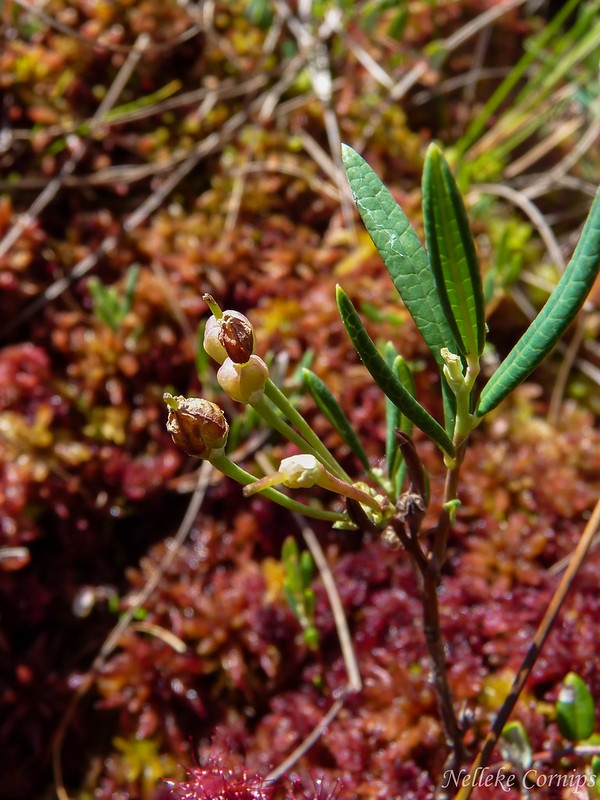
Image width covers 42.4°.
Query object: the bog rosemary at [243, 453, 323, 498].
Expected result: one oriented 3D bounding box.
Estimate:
[{"bbox_3d":[-0.014,0.075,0.829,0.093,0.025,0.036,-11,32,-42],"label":"bog rosemary"}]
